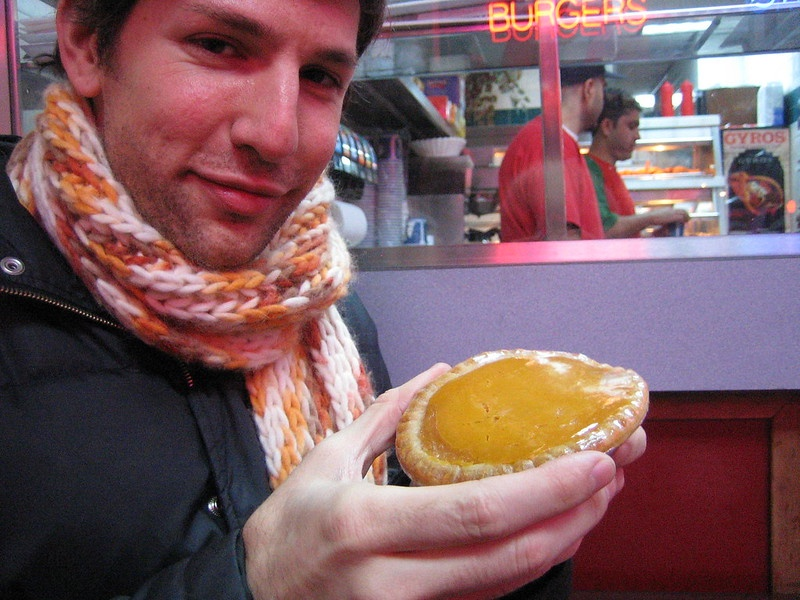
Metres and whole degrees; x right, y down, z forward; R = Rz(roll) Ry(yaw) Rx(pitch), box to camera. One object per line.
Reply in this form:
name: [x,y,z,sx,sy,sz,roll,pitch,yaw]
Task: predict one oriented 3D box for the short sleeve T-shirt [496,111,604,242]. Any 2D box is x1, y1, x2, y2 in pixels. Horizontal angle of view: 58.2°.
short sleeve T-shirt: [0.562,-0.478,2.825,0.239,0.434,0.446,-3,30,-37]
